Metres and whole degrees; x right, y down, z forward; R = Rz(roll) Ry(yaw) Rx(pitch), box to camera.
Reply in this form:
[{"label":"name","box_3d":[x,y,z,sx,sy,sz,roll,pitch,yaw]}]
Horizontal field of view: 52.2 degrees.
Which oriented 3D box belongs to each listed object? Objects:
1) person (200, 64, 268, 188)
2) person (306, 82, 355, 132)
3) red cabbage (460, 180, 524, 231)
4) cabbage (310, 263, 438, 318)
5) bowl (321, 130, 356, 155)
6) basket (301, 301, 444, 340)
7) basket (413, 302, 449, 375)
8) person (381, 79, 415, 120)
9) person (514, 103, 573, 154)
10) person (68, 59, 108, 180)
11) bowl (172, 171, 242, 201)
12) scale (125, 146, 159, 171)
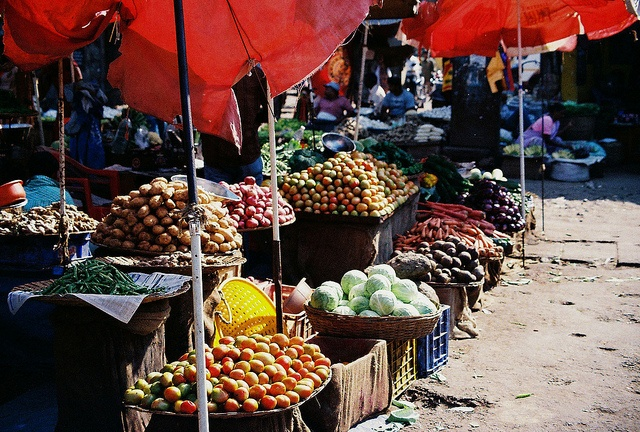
[{"label":"person","box_3d":[-0.983,-0.863,7.648,0.665,1.656,0.739,-2,22,-17]},{"label":"person","box_3d":[0.221,-2.549,15.152,0.958,1.311,0.840,7,0,-13]},{"label":"red cabbage","box_3d":[2.506,-0.146,9.334,0.748,0.734,0.693,2,20,14]},{"label":"cabbage","box_3d":[0.431,0.758,6.193,1.220,0.432,0.802,1,14,-22]},{"label":"bowl","box_3d":[0.232,-1.008,9.148,0.472,0.293,0.436,1,4,0]},{"label":"basket","box_3d":[0.473,1.001,6.026,1.242,0.288,0.258,1,4,0]},{"label":"basket","box_3d":[1.108,1.217,6.612,0.436,0.631,0.412,-1,18,3]},{"label":"person","box_3d":[1.766,-2.698,15.154,0.798,0.945,0.572,2,4,13]},{"label":"person","box_3d":[4.943,-1.933,14.357,1.040,1.045,0.805,0,4,-18]},{"label":"person","box_3d":[-3.407,-1.392,9.654,0.404,1.595,0.405,18,27,36]},{"label":"bowl","box_3d":[-1.171,-0.296,6.875,0.700,0.338,0.472,-11,17,-29]},{"label":"scale","box_3d":[-2.538,-0.817,9.521,0.435,0.305,0.310,6,8,36]}]
